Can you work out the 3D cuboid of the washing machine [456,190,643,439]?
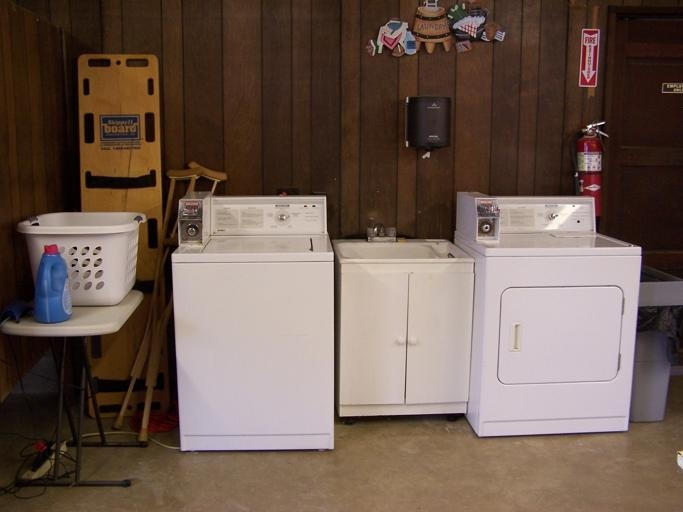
[{"bbox_3d":[1.219,0.413,3.922,0.942,1.578,0.972,1,12,-4],"label":"washing machine"}]

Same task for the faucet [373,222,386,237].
[{"bbox_3d":[0.255,-0.174,3.966,0.075,0.077,0.071,-2,11,-3],"label":"faucet"}]

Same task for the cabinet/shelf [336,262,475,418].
[{"bbox_3d":[0.372,0.392,3.805,0.723,0.950,0.704,0,12,-3],"label":"cabinet/shelf"}]

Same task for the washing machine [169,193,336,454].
[{"bbox_3d":[-0.484,0.324,3.635,0.893,1.395,0.872,-1,11,-1],"label":"washing machine"}]

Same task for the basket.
[{"bbox_3d":[-1.388,0.010,3.298,0.601,0.563,0.550,0,3,-1],"label":"basket"}]
